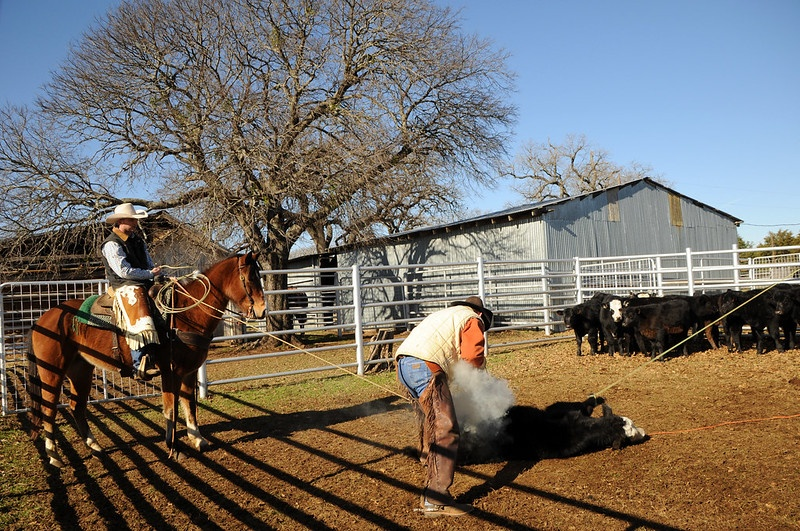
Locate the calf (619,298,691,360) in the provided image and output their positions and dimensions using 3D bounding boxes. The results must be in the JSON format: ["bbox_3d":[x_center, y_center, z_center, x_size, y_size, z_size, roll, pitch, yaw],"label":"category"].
[{"bbox_3d":[5.042,1.199,10.917,1.339,1.059,0.585,-4,0,-4],"label":"calf"}]

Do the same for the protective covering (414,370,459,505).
[{"bbox_3d":[0.427,1.846,6.066,0.401,1.368,0.251,-2,-3,-1],"label":"protective covering"}]

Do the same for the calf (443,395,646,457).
[{"bbox_3d":[1.732,1.991,6.836,2.242,0.994,0.529,-6,-10,8],"label":"calf"}]

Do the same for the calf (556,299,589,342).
[{"bbox_3d":[4.000,1.243,12.384,0.522,0.797,1.424,-9,0,41],"label":"calf"}]

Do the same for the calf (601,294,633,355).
[{"bbox_3d":[4.493,1.050,11.680,0.392,0.867,1.528,-9,4,17],"label":"calf"}]

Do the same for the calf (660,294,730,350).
[{"bbox_3d":[5.798,0.937,11.283,0.441,0.697,1.258,-16,8,-35],"label":"calf"}]
